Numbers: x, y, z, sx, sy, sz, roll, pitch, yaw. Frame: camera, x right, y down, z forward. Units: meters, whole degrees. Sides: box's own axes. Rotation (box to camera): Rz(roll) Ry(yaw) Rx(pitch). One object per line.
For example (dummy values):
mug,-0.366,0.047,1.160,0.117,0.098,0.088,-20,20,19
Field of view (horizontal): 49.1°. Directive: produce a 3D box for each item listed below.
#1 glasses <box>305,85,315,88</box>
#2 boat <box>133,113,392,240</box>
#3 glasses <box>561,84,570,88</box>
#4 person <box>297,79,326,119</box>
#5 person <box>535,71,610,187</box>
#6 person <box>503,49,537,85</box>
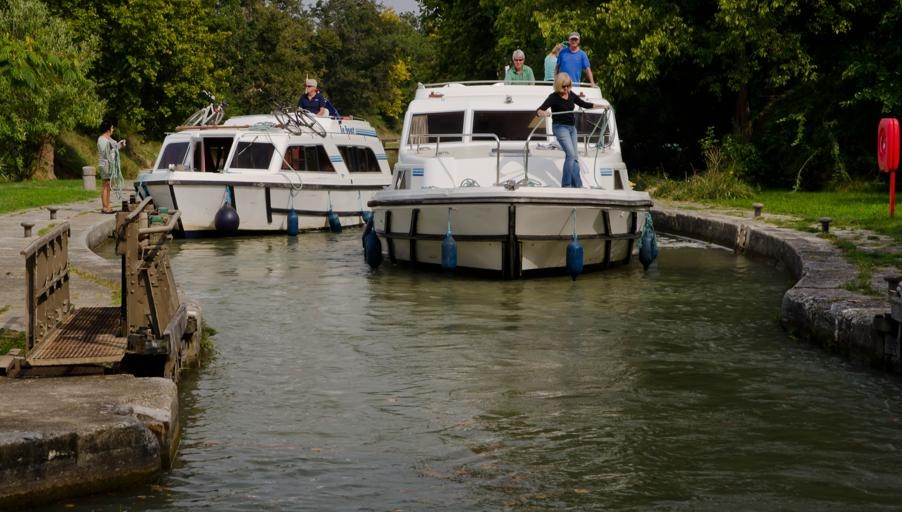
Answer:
glasses,-4.363,-5.239,30.349,0.190,0.083,0.210,-2,11,-7
boat,-5.475,-2.443,30.125,4.143,2.366,7.030,-1,-1,30
glasses,2.450,-3.717,21.484,0.192,0.076,0.089,-9,14,-38
person,-4.425,-4.855,30.785,1.034,1.254,0.878,0,2,-21
person,2.495,-2.774,21.726,1.125,2.472,0.939,2,12,14
person,1.643,-4.545,24.898,0.846,1.099,0.750,-2,2,-1
